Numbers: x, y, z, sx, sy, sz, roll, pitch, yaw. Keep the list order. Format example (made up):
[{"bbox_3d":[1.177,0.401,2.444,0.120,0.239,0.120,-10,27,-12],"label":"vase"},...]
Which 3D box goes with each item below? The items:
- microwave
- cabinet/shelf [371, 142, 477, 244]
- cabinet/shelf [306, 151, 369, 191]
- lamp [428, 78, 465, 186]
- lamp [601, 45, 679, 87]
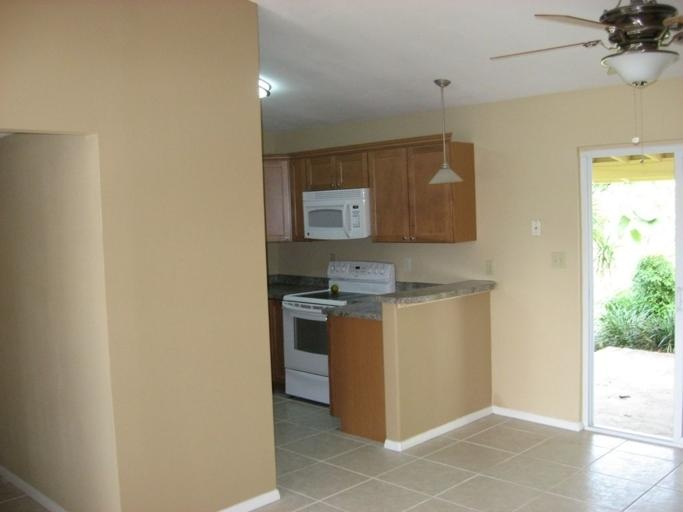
[{"bbox_3d":[-0.070,-0.422,5.818,0.825,0.481,0.520,1,1,43],"label":"microwave"},{"bbox_3d":[0.805,-0.587,5.475,0.531,0.936,1.095,-6,7,-36],"label":"cabinet/shelf"},{"bbox_3d":[-0.026,-0.838,5.861,0.758,0.327,0.179,1,5,35],"label":"cabinet/shelf"},{"bbox_3d":[0.887,-1.045,4.999,0.262,0.858,0.888,-1,8,10],"label":"lamp"},{"bbox_3d":[1.367,-0.860,2.621,0.242,0.076,0.225,-3,2,-28],"label":"lamp"}]
